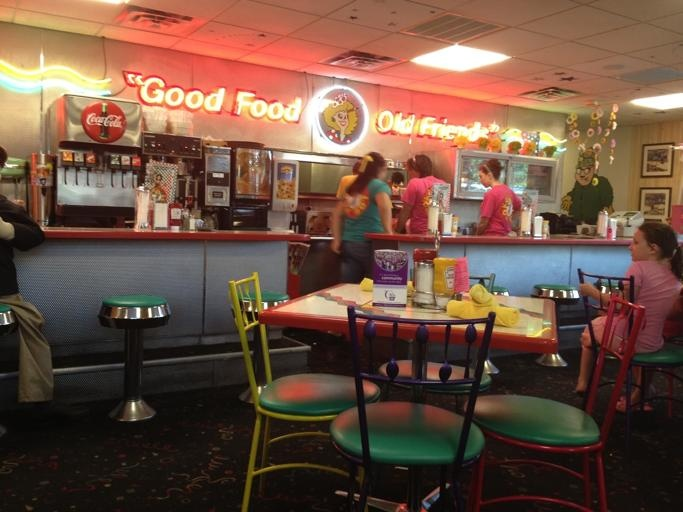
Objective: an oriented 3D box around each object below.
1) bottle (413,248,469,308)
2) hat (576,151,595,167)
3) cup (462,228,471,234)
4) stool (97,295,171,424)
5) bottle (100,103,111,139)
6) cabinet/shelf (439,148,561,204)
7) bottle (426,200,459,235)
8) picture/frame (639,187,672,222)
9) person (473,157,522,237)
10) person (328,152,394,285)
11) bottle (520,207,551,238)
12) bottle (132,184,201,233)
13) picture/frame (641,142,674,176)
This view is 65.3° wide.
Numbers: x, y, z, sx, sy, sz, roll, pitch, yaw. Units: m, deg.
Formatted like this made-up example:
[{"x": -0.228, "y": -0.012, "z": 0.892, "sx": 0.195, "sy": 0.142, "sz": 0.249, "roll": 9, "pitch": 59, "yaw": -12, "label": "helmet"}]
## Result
[{"x": 0.476, "y": 0.133, "z": 2.850, "sx": 0.365, "sy": 0.318, "sz": 0.244, "roll": -1, "pitch": 5, "yaw": -8, "label": "bottle"}, {"x": 3.735, "y": -1.482, "z": 8.136, "sx": 0.237, "sy": 0.264, "sz": 0.338, "roll": 4, "pitch": 8, "yaw": 22, "label": "hat"}, {"x": 2.036, "y": -0.394, "z": 8.692, "sx": 0.135, "sy": 0.083, "sz": 0.132, "roll": 0, "pitch": -1, "yaw": 0, "label": "cup"}, {"x": -1.500, "y": 0.733, "z": 3.865, "sx": 0.357, "sy": 0.857, "sz": 0.395, "roll": 7, "pitch": 10, "yaw": 38, "label": "stool"}, {"x": -2.634, "y": -1.494, "z": 5.888, "sx": 0.094, "sy": 0.366, "sz": 0.042, "roll": -3, "pitch": 9, "yaw": -25, "label": "bottle"}, {"x": 2.655, "y": -1.299, "z": 9.162, "sx": 2.251, "sy": 0.784, "sz": 0.662, "roll": 0, "pitch": 4, "yaw": -23, "label": "cabinet/shelf"}, {"x": 1.007, "y": -0.359, "z": 5.301, "sx": 0.288, "sy": 0.341, "sz": 0.908, "roll": 1, "pitch": -1, "yaw": 19, "label": "bottle"}, {"x": 6.113, "y": -1.004, "z": 10.423, "sx": 0.689, "sy": 0.659, "sz": 0.023, "roll": 0, "pitch": 5, "yaw": -7, "label": "picture/frame"}, {"x": 1.798, "y": -0.675, "z": 6.159, "sx": 0.434, "sy": 0.863, "sz": 0.615, "roll": 3, "pitch": 8, "yaw": 14, "label": "person"}, {"x": 0.218, "y": -0.356, "z": 5.176, "sx": 0.523, "sy": 1.289, "sz": 0.785, "roll": -1, "pitch": 8, "yaw": -10, "label": "person"}, {"x": 2.248, "y": -0.379, "z": 6.253, "sx": 0.488, "sy": 0.429, "sz": 0.320, "roll": -1, "pitch": 4, "yaw": 4, "label": "bottle"}, {"x": -1.610, "y": -0.402, "z": 4.662, "sx": 0.381, "sy": 0.375, "sz": 0.342, "roll": -1, "pitch": 8, "yaw": -15, "label": "bottle"}, {"x": 6.135, "y": -1.881, "z": 10.319, "sx": 0.054, "sy": 0.709, "sz": 0.709, "roll": -3, "pitch": 11, "yaw": -37, "label": "picture/frame"}]
